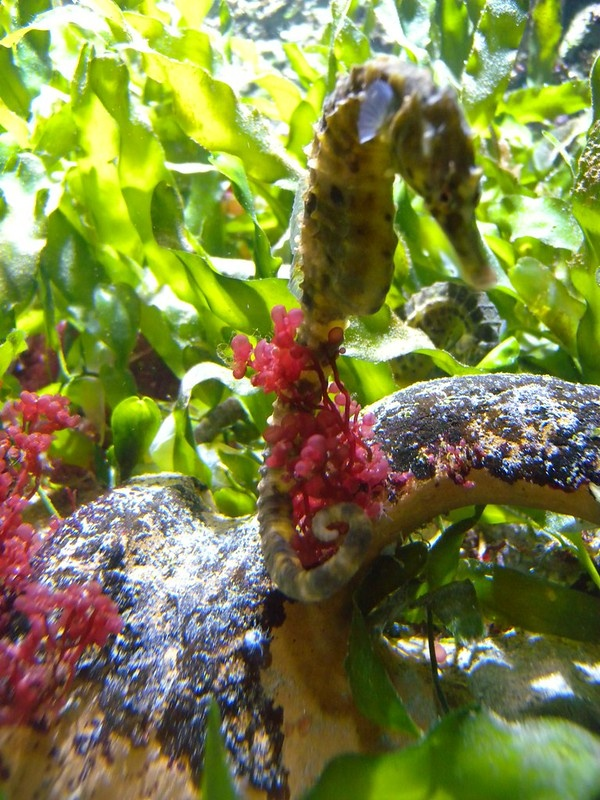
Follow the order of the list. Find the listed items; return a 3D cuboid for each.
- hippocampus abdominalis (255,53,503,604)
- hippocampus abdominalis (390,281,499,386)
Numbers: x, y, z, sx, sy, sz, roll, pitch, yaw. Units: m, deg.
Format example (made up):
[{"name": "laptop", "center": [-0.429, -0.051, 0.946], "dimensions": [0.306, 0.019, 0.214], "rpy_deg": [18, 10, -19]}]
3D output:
[{"name": "hippocampus abdominalis", "center": [0.036, -0.055, 0.502], "dimensions": [0.133, 0.368, 0.273], "rpy_deg": [0, 23, -8]}, {"name": "hippocampus abdominalis", "center": [0.207, -0.101, 1.074], "dimensions": [0.175, 0.149, 0.062], "rpy_deg": [-34, 1, -9]}]
